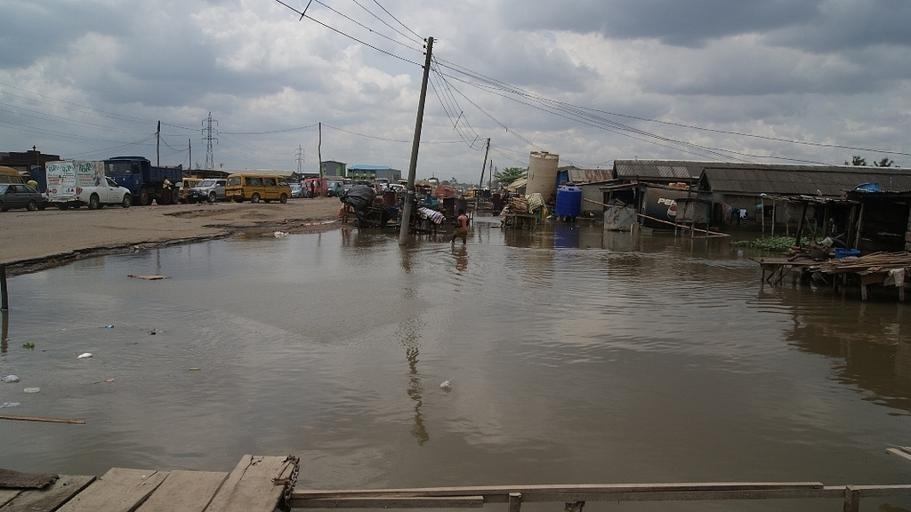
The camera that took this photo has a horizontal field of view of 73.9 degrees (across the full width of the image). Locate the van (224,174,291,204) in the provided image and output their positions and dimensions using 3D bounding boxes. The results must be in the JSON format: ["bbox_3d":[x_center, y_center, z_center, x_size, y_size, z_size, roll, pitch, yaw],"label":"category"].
[{"bbox_3d":[-15.204,-5.103,46.529,2.357,1.601,4.281,0,0,39],"label":"van"}]

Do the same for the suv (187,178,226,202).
[{"bbox_3d":[-18.388,-4.839,44.797,1.433,1.626,3.060,3,6,13],"label":"suv"}]

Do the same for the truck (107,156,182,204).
[{"bbox_3d":[-20.710,-4.766,40.029,2.975,2.520,5.864,-3,2,6],"label":"truck"}]

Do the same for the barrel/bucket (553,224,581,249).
[{"bbox_3d":[5.899,-1.011,32.150,1.797,1.417,2.981,3,1,13],"label":"barrel/bucket"}]

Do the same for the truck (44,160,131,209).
[{"bbox_3d":[-21.308,-3.907,35.041,2.569,1.879,4.253,-4,1,7],"label":"truck"}]

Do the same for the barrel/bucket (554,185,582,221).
[{"bbox_3d":[8.101,-3.790,43.842,1.545,2.527,1.912,-1,6,-18],"label":"barrel/bucket"}]
